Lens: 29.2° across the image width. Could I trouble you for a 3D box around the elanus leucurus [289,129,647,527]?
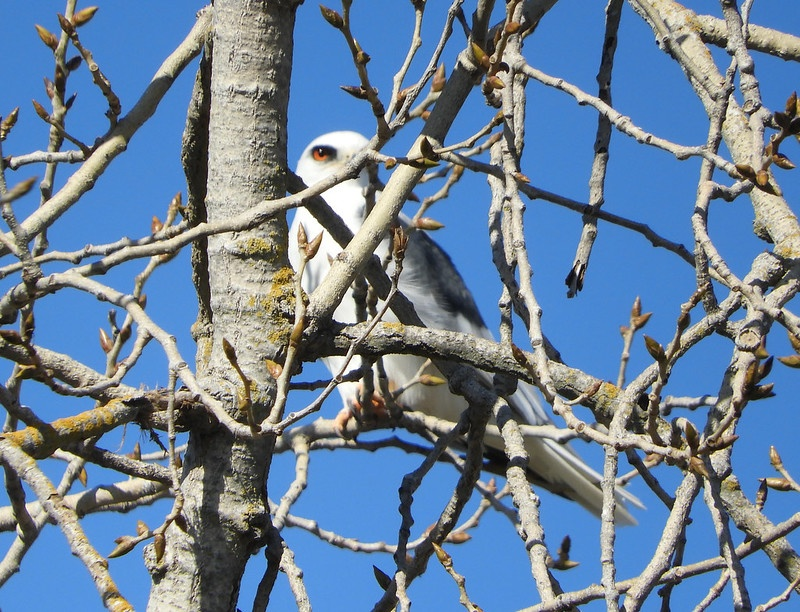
[{"bbox_3d":[0.234,0.113,8.351,2.255,1.642,0.766,14,-24,-38],"label":"elanus leucurus"}]
